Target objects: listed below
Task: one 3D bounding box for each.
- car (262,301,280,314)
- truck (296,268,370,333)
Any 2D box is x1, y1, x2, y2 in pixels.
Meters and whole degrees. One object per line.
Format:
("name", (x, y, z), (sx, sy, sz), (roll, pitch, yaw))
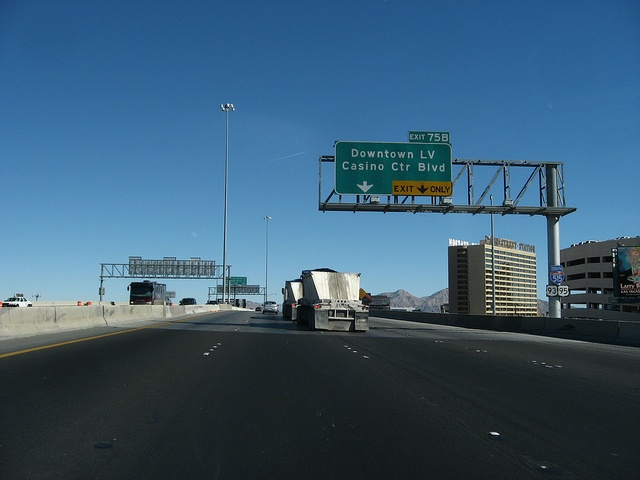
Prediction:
("car", (-6.552, 8.791, 76.782), (1.667, 1.375, 2.615), (1, -7, -16))
("truck", (0.710, 3.046, 30.086), (2.354, 2.767, 4.638), (2, -2, -8))
